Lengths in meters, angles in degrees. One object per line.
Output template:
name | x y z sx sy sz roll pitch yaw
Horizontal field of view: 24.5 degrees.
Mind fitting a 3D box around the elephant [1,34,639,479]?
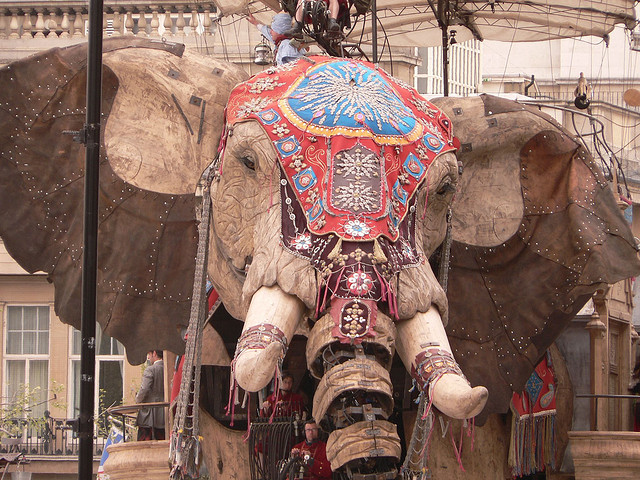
elephant | 0.164 0.028 13.484 5.648 4.318 4.172 1 -10 -14
